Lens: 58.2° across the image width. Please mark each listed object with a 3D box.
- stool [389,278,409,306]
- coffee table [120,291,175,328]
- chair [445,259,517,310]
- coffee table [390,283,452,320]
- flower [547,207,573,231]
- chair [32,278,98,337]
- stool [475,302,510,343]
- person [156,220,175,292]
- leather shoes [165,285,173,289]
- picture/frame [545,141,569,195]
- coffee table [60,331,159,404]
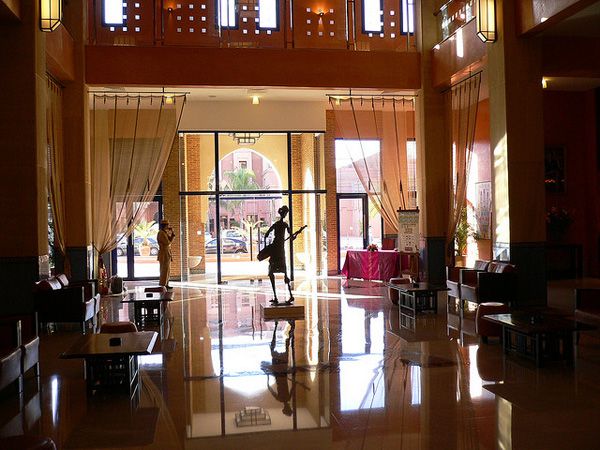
[{"bbox_3d":[1.899,1.259,10.461,0.419,0.582,0.469,-1,3,-2],"label":"stool"},{"bbox_3d":[-2.707,1.464,9.658,0.834,0.465,1.326,-2,4,-15],"label":"coffee table"},{"bbox_3d":[3.155,1.203,9.224,0.595,0.824,1.144,1,0,-8],"label":"chair"},{"bbox_3d":[2.193,1.322,9.770,0.489,0.391,0.943,0,-1,-7],"label":"coffee table"},{"bbox_3d":[5.970,-0.200,12.366,0.469,0.537,0.435,15,-7,31],"label":"flower"},{"bbox_3d":[-3.787,1.002,8.770,0.650,0.943,1.235,0,2,-8],"label":"chair"},{"bbox_3d":[2.841,1.408,7.865,0.468,0.547,0.528,-7,0,7],"label":"stool"},{"bbox_3d":[-3.244,0.718,13.021,0.394,1.690,2.076,-2,3,-13],"label":"person"},{"bbox_3d":[-3.122,1.488,12.856,0.208,0.086,0.220,-2,-3,35],"label":"leather shoes"},{"bbox_3d":[5.976,-1.310,12.560,0.548,1.148,0.080,-2,3,-12],"label":"picture/frame"},{"bbox_3d":[-2.331,1.645,6.563,1.081,0.572,1.258,2,1,8],"label":"coffee table"}]
